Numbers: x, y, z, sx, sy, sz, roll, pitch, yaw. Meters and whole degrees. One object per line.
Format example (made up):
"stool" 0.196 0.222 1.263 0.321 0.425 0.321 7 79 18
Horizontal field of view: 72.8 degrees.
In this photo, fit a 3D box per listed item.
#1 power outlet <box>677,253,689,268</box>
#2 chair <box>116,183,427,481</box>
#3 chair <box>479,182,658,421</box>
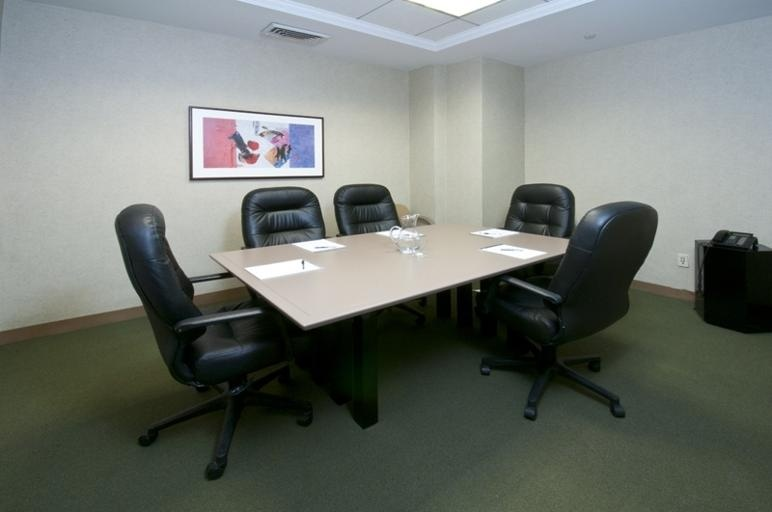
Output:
"power outlet" 3.110 0.043 5.445 0.019 0.187 0.134 -4 8 -33
"chair" -1.029 0.352 4.533 2.096 2.152 1.635 -6 10 -25
"chair" 1.659 0.168 4.530 1.501 2.004 1.543 -5 7 -31
